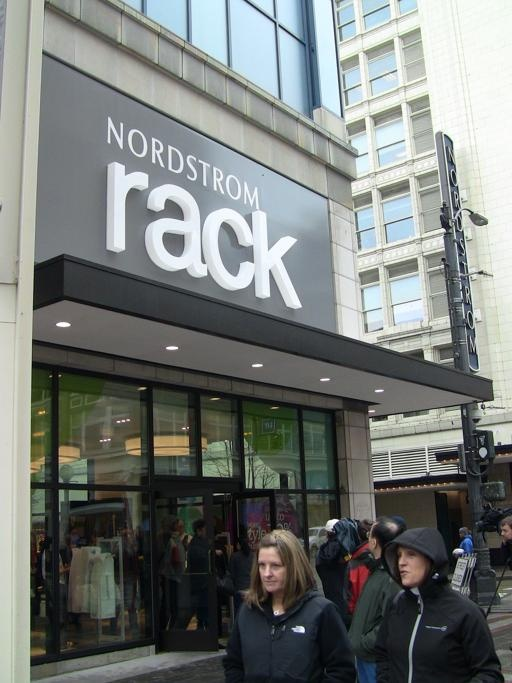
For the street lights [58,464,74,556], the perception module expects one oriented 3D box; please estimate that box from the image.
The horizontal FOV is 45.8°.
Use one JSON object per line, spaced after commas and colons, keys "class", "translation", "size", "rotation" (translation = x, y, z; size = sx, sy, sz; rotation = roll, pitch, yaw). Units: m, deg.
{"class": "street lights", "translation": [-2.538, 2.441, 8.015], "size": [0.048, 0.914, 0.184], "rotation": [-11, -13, 24]}
